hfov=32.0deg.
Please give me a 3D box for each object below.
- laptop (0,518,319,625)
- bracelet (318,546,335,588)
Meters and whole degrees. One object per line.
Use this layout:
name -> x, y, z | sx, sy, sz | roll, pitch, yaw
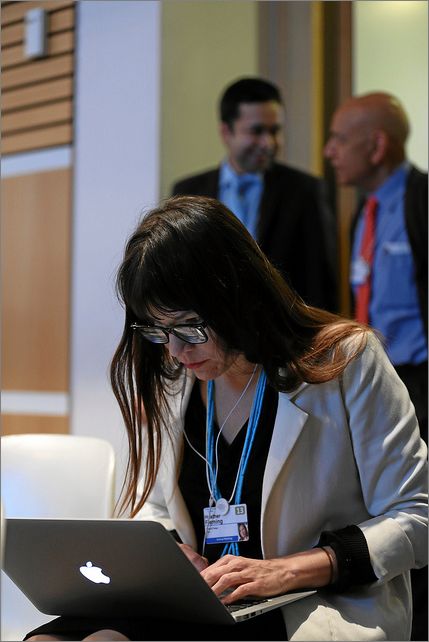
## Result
laptop -> -0.072, 0.397, 1.183 | 0.254, 0.149, 0.254 | -9, -3, 34
bracelet -> 0.191, 0.415, 1.259 | 0.014, 0.053, 0.042 | -1, 3, -8
